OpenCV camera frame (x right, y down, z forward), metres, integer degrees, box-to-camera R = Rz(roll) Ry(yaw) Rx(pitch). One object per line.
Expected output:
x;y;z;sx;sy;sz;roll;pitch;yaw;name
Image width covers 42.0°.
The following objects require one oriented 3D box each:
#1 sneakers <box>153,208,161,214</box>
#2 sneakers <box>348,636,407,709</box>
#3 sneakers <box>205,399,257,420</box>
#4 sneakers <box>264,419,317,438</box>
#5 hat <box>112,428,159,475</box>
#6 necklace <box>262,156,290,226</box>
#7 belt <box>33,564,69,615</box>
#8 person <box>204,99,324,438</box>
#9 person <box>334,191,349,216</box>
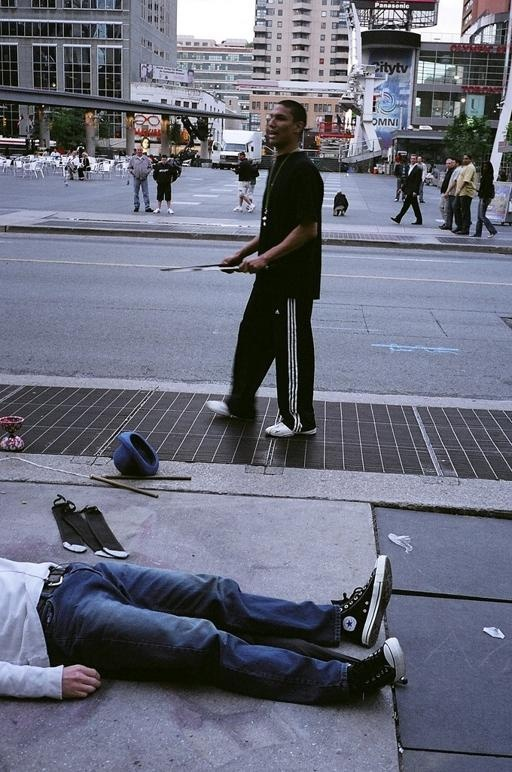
-3.178;-5.598;21.248;0.183;0.207;0.459;-15;20;-29;sneakers
0.343;0.851;2.032;0.122;0.298;0.100;6;40;-14;sneakers
-0.181;0.179;4.836;0.381;0.164;0.141;15;0;1;sneakers
0.232;0.304;4.586;0.356;0.165;0.125;5;4;-3;sneakers
-0.670;0.384;3.790;0.259;0.251;0.213;-3;15;-23;hat
0.106;-1.285;4.380;0.123;0.441;0.341;1;14;-6;necklace
-0.640;0.640;2.080;0.089;0.044;0.120;-2;5;-6;belt
0.125;-0.772;4.434;0.698;2.196;0.672;1;14;-7;person
2.844;-6.179;22.573;0.436;0.775;1.793;4;15;5;person
